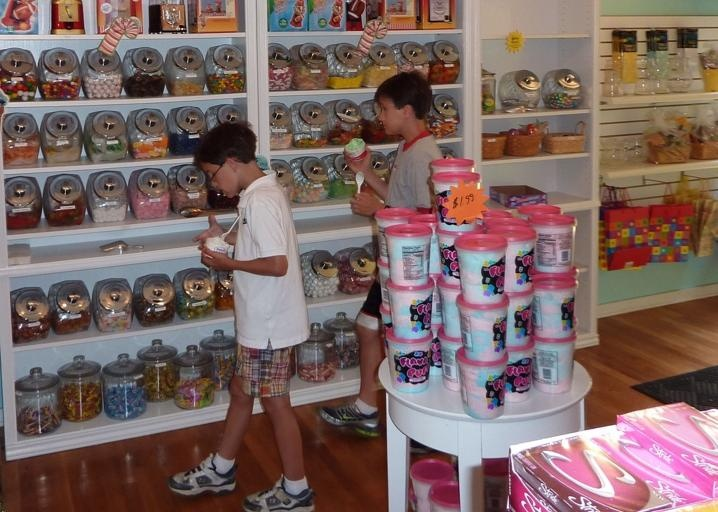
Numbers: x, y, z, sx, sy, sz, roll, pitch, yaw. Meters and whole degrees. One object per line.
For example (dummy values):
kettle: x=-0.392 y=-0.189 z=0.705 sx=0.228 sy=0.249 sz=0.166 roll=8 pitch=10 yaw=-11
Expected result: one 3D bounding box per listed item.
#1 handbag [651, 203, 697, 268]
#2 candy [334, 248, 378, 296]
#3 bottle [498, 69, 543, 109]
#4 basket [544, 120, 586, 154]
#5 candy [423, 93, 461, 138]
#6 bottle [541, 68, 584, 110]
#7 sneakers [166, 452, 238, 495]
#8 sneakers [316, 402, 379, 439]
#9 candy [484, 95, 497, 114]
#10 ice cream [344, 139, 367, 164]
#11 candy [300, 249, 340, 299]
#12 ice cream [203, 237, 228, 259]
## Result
handbag: x=2.545 y=-0.180 z=4.723 sx=0.389 sy=0.462 sz=0.139 roll=-6 pitch=13 yaw=-19
candy: x=-0.036 y=0.096 z=3.937 sx=0.306 sy=0.273 sz=0.280 roll=-17 pitch=6 yaw=-24
bottle: x=1.199 y=-1.214 z=4.266 sx=0.305 sy=0.280 sz=0.159 roll=2 pitch=13 yaw=12
basket: x=1.528 y=-0.869 z=4.286 sx=0.339 sy=0.228 sz=0.220 roll=-2 pitch=11 yaw=-7
candy: x=0.574 y=-0.938 z=3.896 sx=0.295 sy=0.260 sz=0.243 roll=-5 pitch=11 yaw=-25
bottle: x=1.507 y=-1.208 z=4.298 sx=0.330 sy=0.279 sz=0.310 roll=-3 pitch=5 yaw=-17
sneakers: x=-0.780 y=1.099 z=2.973 sx=0.405 sy=0.205 sz=0.152 roll=0 pitch=16 yaw=-12
sneakers: x=-0.049 y=0.948 z=3.442 sx=0.418 sy=0.170 sz=0.147 roll=13 pitch=7 yaw=7
candy: x=0.983 y=-1.099 z=4.242 sx=0.072 sy=0.105 sz=0.184 roll=6 pitch=14 yaw=30
ice cream: x=-0.023 y=-0.573 z=3.195 sx=0.133 sy=0.101 sz=0.125 roll=-6 pitch=10 yaw=-3
candy: x=-0.275 y=0.123 z=3.806 sx=0.322 sy=0.289 sz=0.231 roll=-2 pitch=-23 yaw=-25
ice cream: x=-0.653 y=-0.030 z=2.606 sx=0.094 sy=0.049 sz=0.076 roll=28 pitch=9 yaw=39
